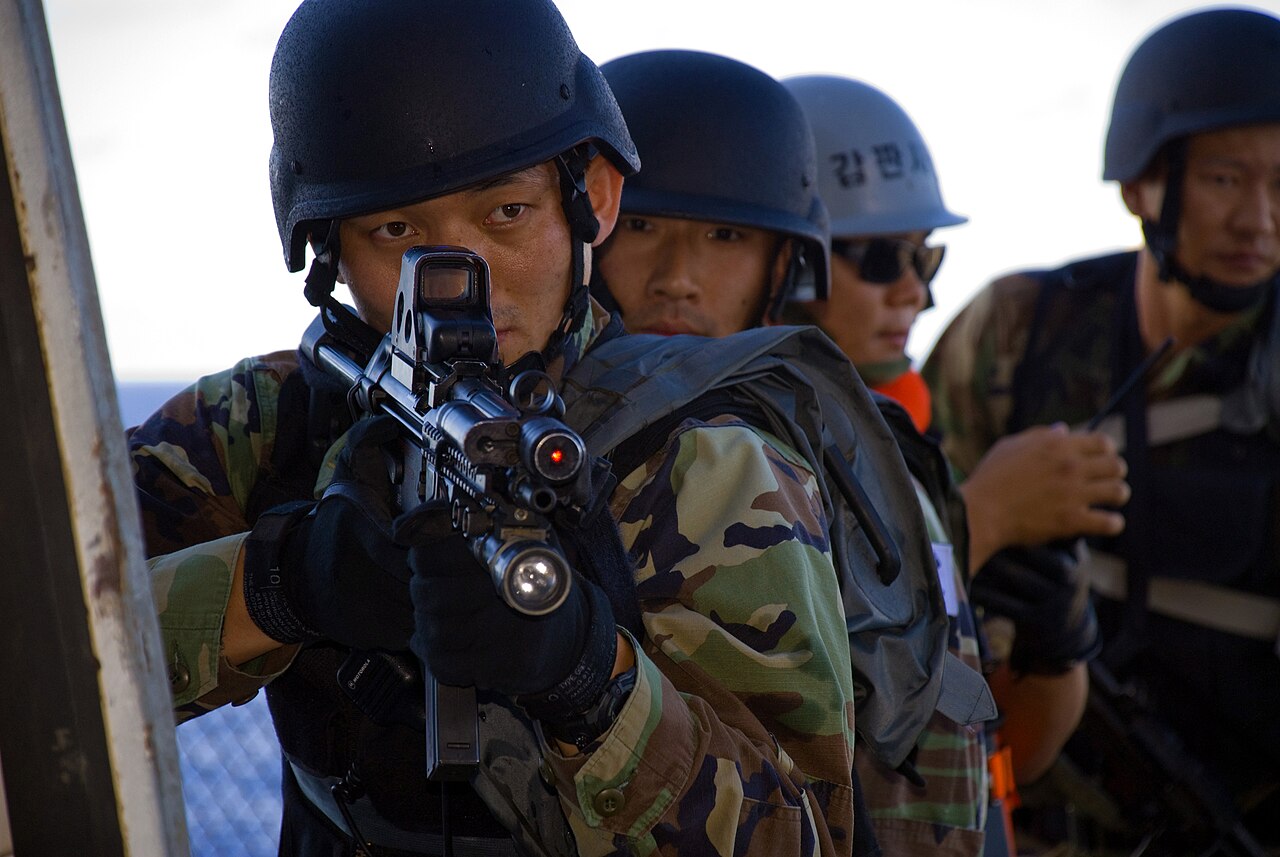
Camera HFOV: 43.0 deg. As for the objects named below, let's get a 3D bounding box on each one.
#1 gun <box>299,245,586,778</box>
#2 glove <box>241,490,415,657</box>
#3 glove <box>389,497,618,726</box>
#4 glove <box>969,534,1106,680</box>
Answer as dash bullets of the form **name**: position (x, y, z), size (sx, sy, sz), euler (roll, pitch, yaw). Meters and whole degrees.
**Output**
- **gun**: position (-0.573, 0.084, 4.353), size (0.330, 1.198, 1.784), euler (-2, 13, -25)
- **glove**: position (-0.825, 0.401, 4.314), size (0.217, 0.382, 0.498), euler (23, 13, -24)
- **glove**: position (-0.316, 0.499, 4.006), size (0.508, 0.495, 0.152), euler (-1, 4, -5)
- **glove**: position (1.578, 0.616, 6.640), size (0.412, 0.653, 0.605), euler (6, 7, 12)
